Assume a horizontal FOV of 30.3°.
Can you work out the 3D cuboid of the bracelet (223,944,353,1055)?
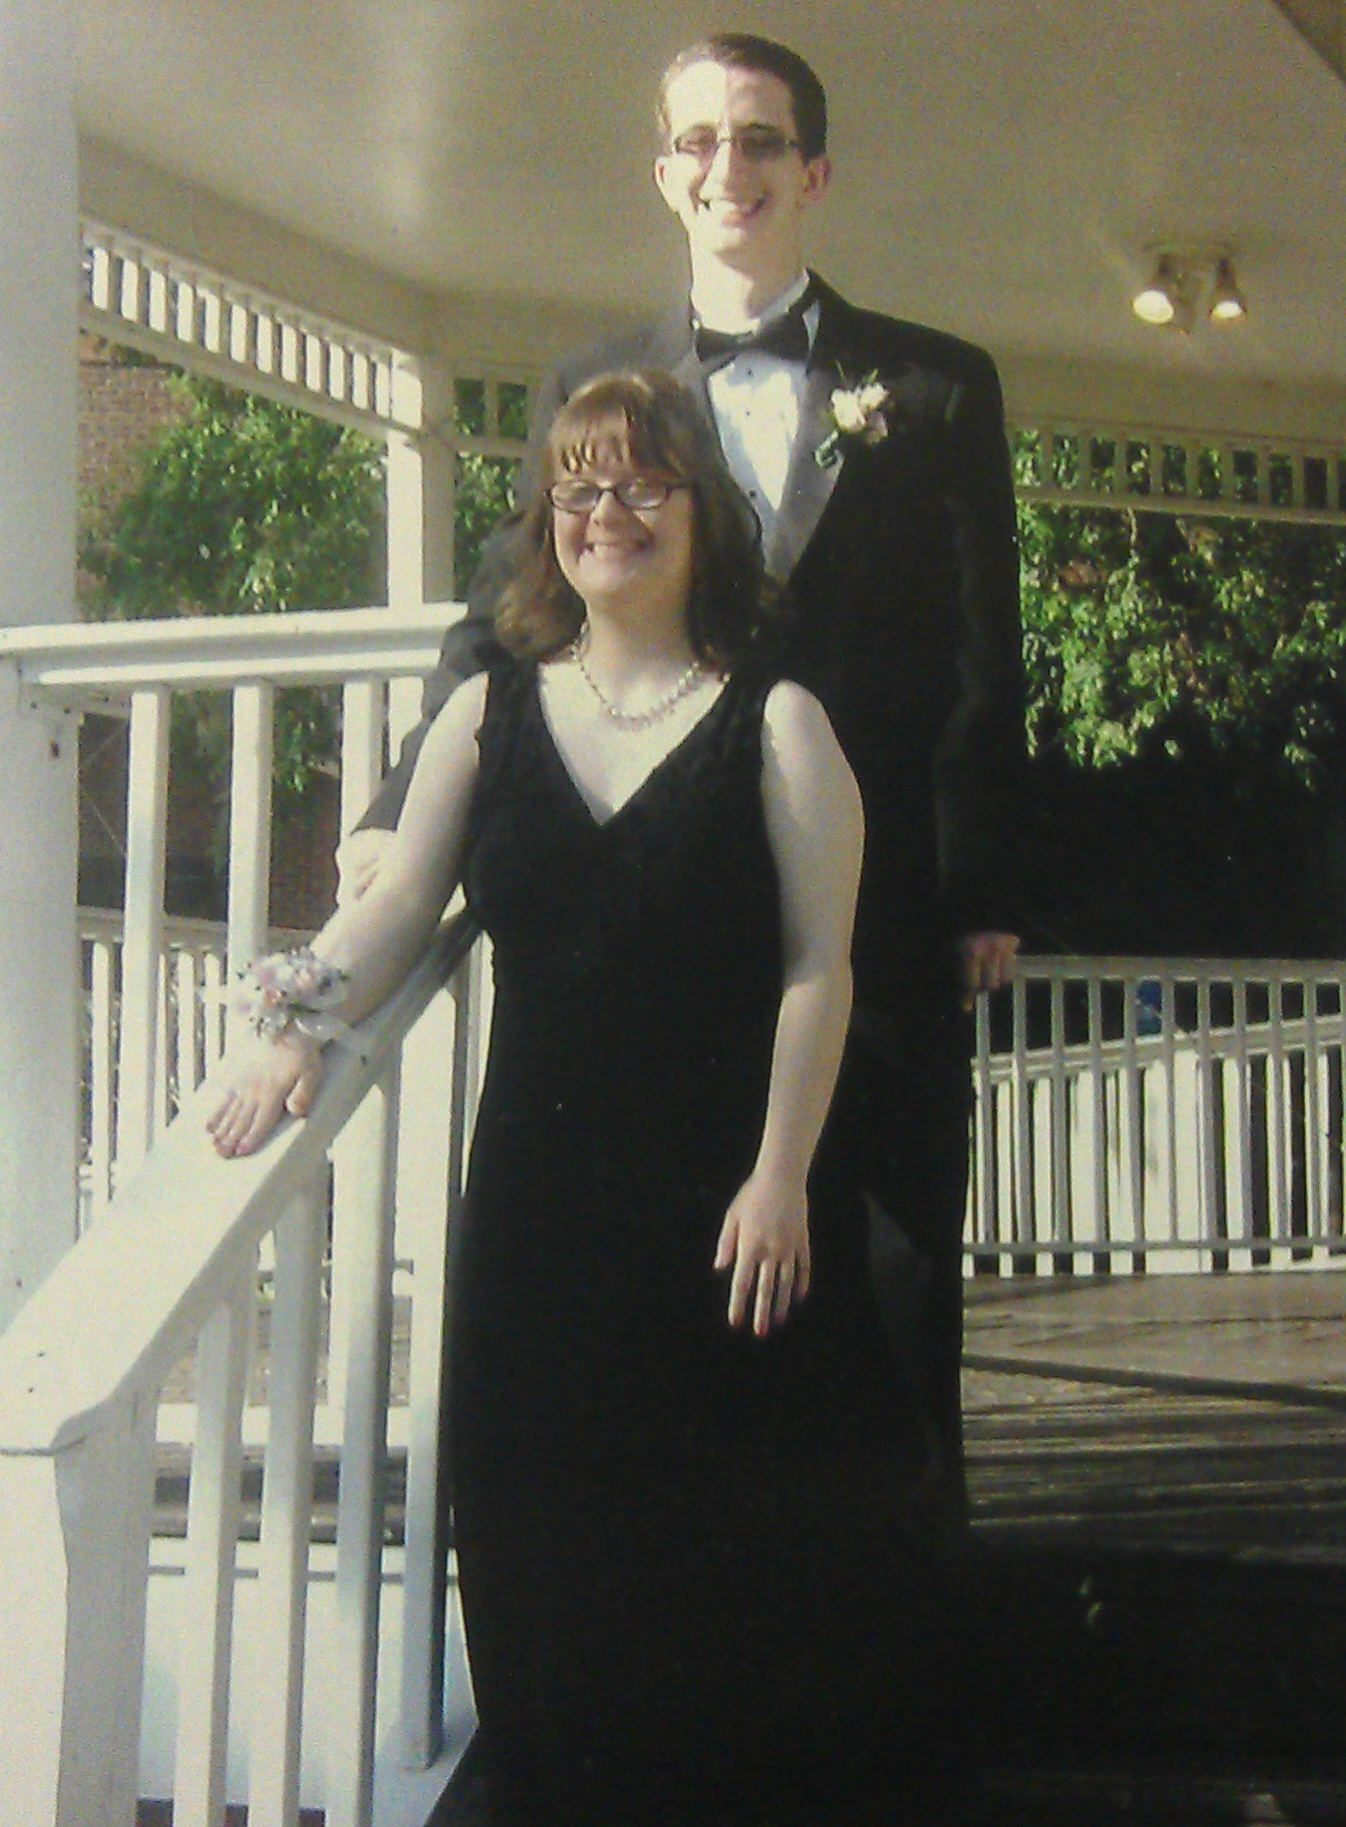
[{"bbox_3d":[-0.402,0.090,2.619,0.105,0.106,0.045,-41,-3,-35],"label":"bracelet"}]
